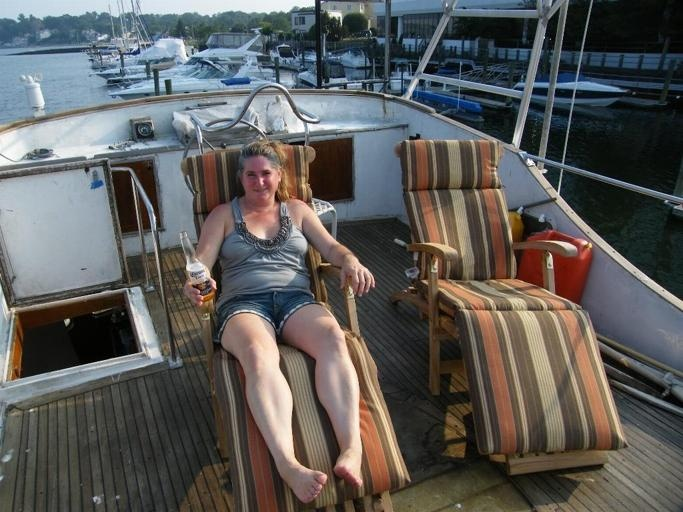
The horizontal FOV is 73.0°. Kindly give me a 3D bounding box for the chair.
[{"bbox_3d":[0.421,0.643,3.227,2.333,1.573,2.189,-6,22,-11],"label":"chair"}]

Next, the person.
[{"bbox_3d":[-0.260,0.136,2.631,1.001,1.179,1.862,-2,26,-21],"label":"person"}]

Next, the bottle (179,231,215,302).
[{"bbox_3d":[-0.802,0.037,2.562,0.123,0.342,0.420,-10,25,-18],"label":"bottle"}]
